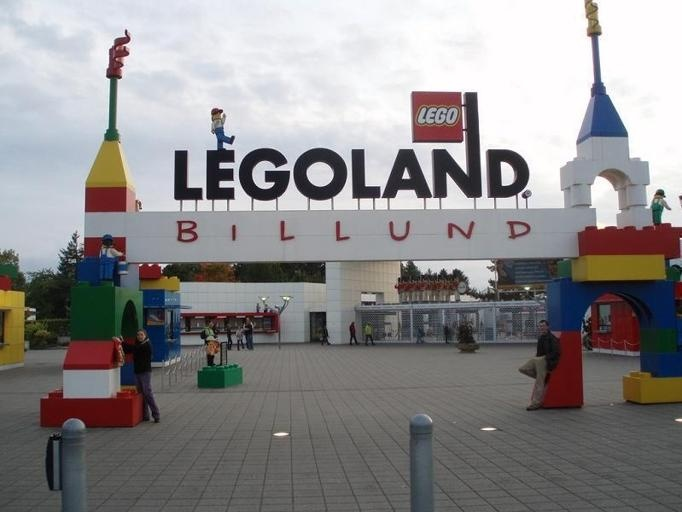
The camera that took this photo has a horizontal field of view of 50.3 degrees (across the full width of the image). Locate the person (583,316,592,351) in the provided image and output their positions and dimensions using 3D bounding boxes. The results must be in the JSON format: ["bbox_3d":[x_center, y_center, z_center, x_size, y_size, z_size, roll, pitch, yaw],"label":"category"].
[{"bbox_3d":[12.393,3.939,36.372,0.352,1.450,1.909,-4,-4,18],"label":"person"}]

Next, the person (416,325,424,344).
[{"bbox_3d":[5.133,5.001,46.368,0.411,1.090,0.963,-3,-4,6],"label":"person"}]

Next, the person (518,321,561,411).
[{"bbox_3d":[4.966,2.683,17.993,0.953,2.144,1.072,-4,-4,16],"label":"person"}]

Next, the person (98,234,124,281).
[{"bbox_3d":[-5.648,0.074,17.962,0.387,1.206,0.600,-4,-4,24],"label":"person"}]

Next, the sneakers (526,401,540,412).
[{"bbox_3d":[4.692,3.687,17.708,0.391,0.269,0.145,2,-7,-6],"label":"sneakers"}]

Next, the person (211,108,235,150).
[{"bbox_3d":[-3.214,-3.434,19.603,0.610,1.258,0.345,-9,-12,4],"label":"person"}]

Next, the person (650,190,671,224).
[{"bbox_3d":[8.359,-1.279,19.029,0.429,1.003,1.666,-4,-5,24],"label":"person"}]

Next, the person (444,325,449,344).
[{"bbox_3d":[6.739,4.885,45.845,0.346,1.140,0.592,-3,-4,4],"label":"person"}]

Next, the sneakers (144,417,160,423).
[{"bbox_3d":[-4.319,3.833,16.866,0.159,0.073,0.231,-7,-24,27],"label":"sneakers"}]
